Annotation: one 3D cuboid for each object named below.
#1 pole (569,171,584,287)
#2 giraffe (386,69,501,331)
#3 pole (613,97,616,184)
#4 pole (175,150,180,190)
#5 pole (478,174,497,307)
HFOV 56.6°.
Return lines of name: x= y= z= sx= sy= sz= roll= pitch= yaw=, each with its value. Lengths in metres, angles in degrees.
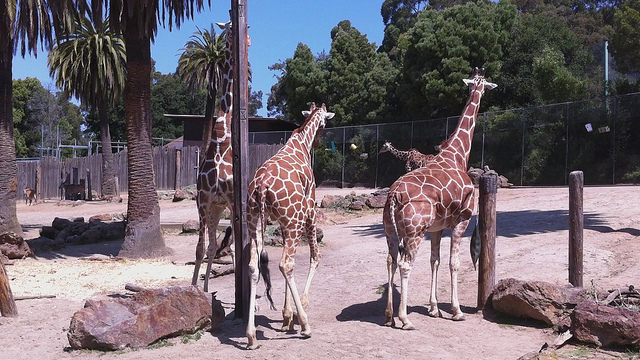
pole: x=8.155 y=1.588 z=19.026 sx=0.388 sy=3.672 sz=0.375 roll=0 pitch=5 yaw=19
giraffe: x=4.167 y=0.274 z=19.836 sx=5.222 sy=8.935 sz=2.110 roll=6 pitch=-3 yaw=-40
pole: x=15.646 y=-2.099 z=31.777 sx=0.093 sy=4.611 sz=0.689 roll=1 pitch=5 yaw=26
pole: x=-10.137 y=-0.722 z=42.417 sx=0.391 sy=2.793 sz=0.699 roll=-2 pitch=4 yaw=-13
pole: x=5.304 y=1.957 z=18.962 sx=0.549 sy=4.195 sz=0.493 roll=0 pitch=5 yaw=15
